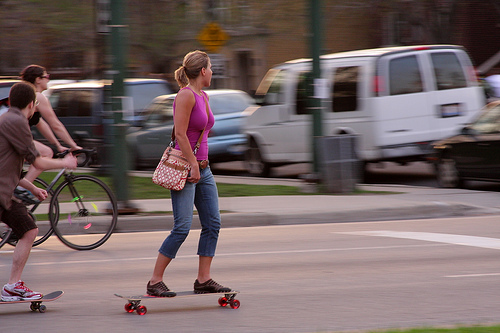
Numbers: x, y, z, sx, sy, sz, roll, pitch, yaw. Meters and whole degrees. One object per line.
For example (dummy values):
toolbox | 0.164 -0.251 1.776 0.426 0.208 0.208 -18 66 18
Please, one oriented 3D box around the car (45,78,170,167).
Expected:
car | -3.778 -1.261 19.541 3.674 1.471 2.155 4 8 30

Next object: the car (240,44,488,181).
car | 2.357 -1.283 16.740 3.206 1.900 5.046 -4 5 -42

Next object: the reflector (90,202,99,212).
reflector | -2.239 0.576 11.027 0.129 0.126 0.050 4 10 44

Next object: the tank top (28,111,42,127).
tank top | -3.002 -0.668 10.600 0.159 0.199 0.240 -2 6 5

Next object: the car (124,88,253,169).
car | -2.154 -1.093 19.251 3.781 1.317 1.752 12 9 20

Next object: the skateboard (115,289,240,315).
skateboard | -0.557 1.446 8.452 1.776 0.205 0.383 0 4 -16

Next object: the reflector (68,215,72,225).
reflector | -2.587 0.748 10.995 0.046 0.123 0.015 -10 10 -43

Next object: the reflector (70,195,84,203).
reflector | -2.485 0.455 10.937 0.173 0.032 0.046 -24 26 1

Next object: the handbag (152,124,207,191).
handbag | -0.873 -0.072 8.279 0.298 0.654 0.309 -7 9 -32
